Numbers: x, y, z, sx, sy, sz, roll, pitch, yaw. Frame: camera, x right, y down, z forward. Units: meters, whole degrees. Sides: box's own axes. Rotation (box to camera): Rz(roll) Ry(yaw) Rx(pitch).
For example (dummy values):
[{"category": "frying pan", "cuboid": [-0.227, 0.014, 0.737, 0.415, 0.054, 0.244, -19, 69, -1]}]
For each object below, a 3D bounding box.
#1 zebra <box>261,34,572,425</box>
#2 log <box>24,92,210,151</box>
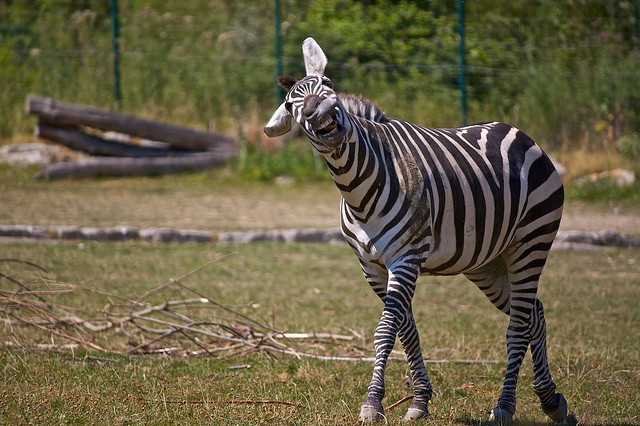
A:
[{"category": "zebra", "cuboid": [1.026, 0.173, 11.246, 2.543, 3.409, 0.896, -2, 9, -18]}, {"category": "log", "cuboid": [-1.898, -0.805, 10.994, 1.389, 0.343, 0.209, 12, -7, -9]}]
